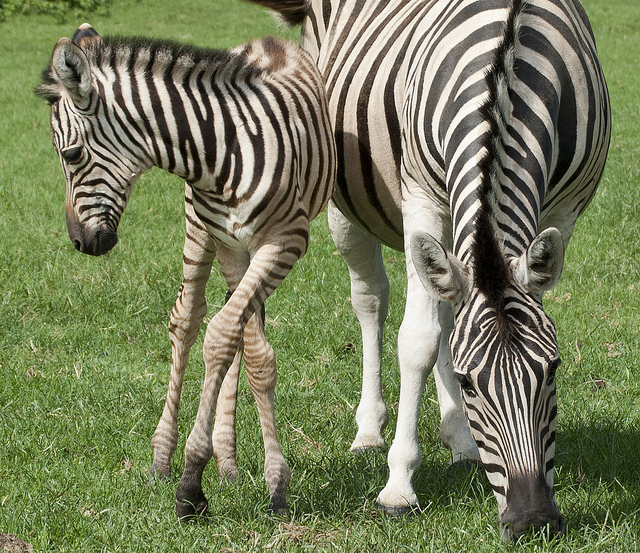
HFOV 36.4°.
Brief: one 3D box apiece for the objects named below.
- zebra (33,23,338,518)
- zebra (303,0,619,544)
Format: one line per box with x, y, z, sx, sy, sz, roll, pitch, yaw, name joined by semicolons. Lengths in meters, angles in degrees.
-0.230;-0.068;5.793;0.753;2.758;2.967;-7;5;40;zebra
0.764;-0.015;5.527;1.318;2.932;2.941;-1;23;-3;zebra
